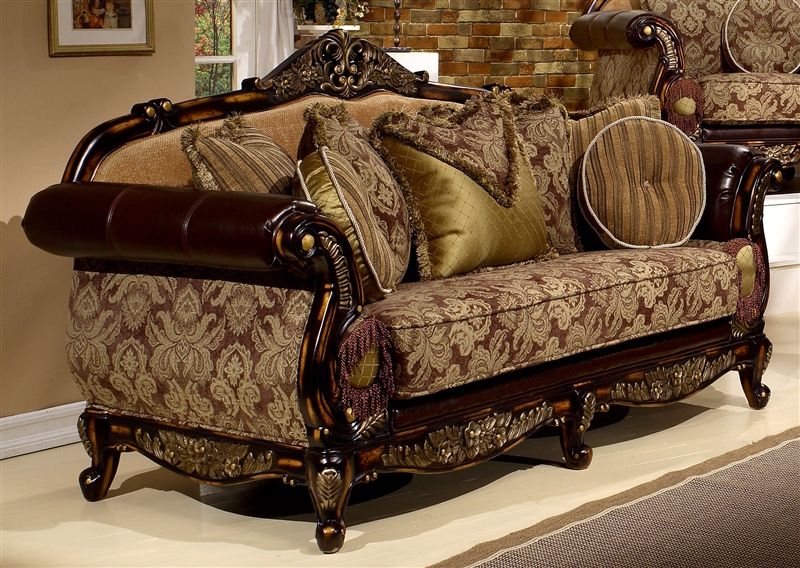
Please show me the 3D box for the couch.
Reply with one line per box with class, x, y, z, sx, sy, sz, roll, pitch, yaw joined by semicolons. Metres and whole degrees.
couch;0.084;-0.036;2.483;2.363;1.261;0.926;-8;13;-31
